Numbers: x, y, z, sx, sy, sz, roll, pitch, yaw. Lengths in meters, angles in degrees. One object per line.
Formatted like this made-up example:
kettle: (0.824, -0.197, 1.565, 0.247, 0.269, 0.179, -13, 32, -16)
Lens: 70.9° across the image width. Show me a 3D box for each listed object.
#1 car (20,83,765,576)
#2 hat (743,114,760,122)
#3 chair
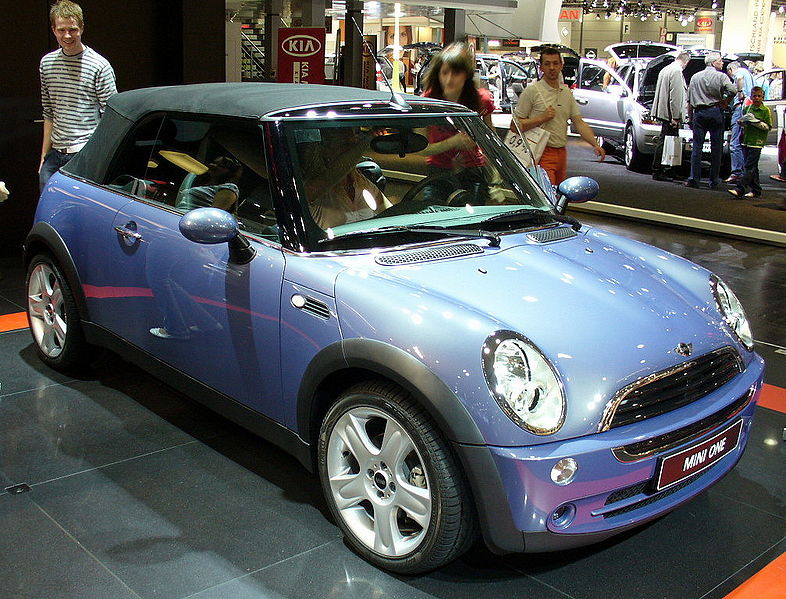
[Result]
car: (-0.293, -0.109, 2.733, 3.269, 1.386, 2.004, 19, 25, 41)
hat: (6.270, -3.164, 9.579, 0.144, 0.084, 0.171, -3, 12, -12)
chair: (-0.771, -0.580, 2.555, 0.302, 0.540, 0.390, 8, 16, -48)
